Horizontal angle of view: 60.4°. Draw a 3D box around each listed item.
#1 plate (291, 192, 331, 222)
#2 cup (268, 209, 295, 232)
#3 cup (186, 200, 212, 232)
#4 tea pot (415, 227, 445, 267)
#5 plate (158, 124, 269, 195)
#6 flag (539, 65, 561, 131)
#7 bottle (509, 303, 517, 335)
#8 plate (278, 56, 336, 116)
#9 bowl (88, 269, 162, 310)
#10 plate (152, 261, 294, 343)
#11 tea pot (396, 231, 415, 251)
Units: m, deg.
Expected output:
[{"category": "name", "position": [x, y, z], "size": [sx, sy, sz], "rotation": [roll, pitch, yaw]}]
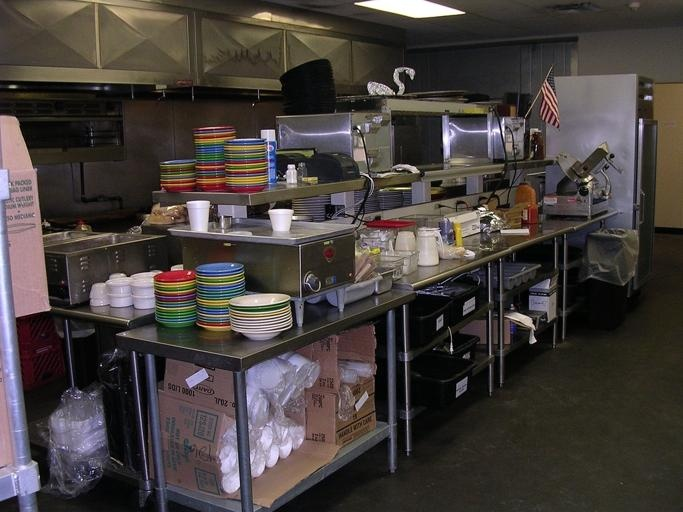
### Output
[{"category": "plate", "position": [-0.200, -0.322, 3.847], "size": [0.194, 0.111, 0.189], "rotation": [-2, 7, -11]}, {"category": "cup", "position": [-0.286, -0.169, 2.751], "size": [0.109, 0.089, 0.106], "rotation": [0, 1, 0]}, {"category": "cup", "position": [-0.688, -0.199, 2.907], "size": [0.147, 0.152, 0.143], "rotation": [-1, 6, 0]}, {"category": "tea pot", "position": [0.525, -0.065, 3.719], "size": [0.258, 0.255, 0.169], "rotation": [0, 1, -30]}, {"category": "plate", "position": [-0.601, -0.461, 2.817], "size": [0.506, 0.254, 0.304], "rotation": [3, 10, 34]}, {"category": "flag", "position": [1.938, -1.474, 5.485], "size": [0.155, 0.523, 0.292], "rotation": [7, 15, 35]}, {"category": "bottle", "position": [1.294, 0.482, 4.448], "size": [0.068, 0.171, 0.205], "rotation": [-1, 4, 10]}, {"category": "plate", "position": [-0.204, -1.060, 3.723], "size": [0.395, 0.366, 0.345], "rotation": [1, 11, 13]}, {"category": "bowl", "position": [-1.097, 0.173, 2.917], "size": [0.285, 0.093, 0.220], "rotation": [2, 6, 42]}, {"category": "plate", "position": [-0.523, 0.181, 2.629], "size": [0.646, 0.277, 0.255], "rotation": [5, 14, 28]}, {"category": "tea pot", "position": [0.394, -0.098, 3.668], "size": [0.117, 0.104, 0.113], "rotation": [-2, 5, 0]}]
